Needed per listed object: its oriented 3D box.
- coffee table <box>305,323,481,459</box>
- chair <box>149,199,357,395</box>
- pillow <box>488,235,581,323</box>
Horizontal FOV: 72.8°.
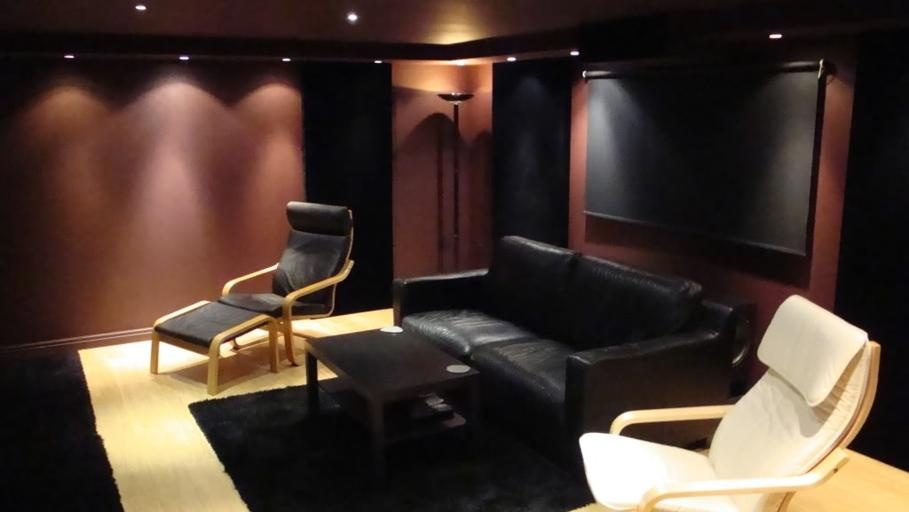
[{"bbox_3d":[-0.453,0.883,4.859,0.872,0.572,1.326,-5,12,-31],"label":"coffee table"},{"bbox_3d":[-1.765,0.238,6.421,1.384,1.865,2.375,9,11,36],"label":"chair"},{"bbox_3d":[0.674,0.221,5.701,0.217,0.743,0.860,18,4,-42],"label":"pillow"}]
